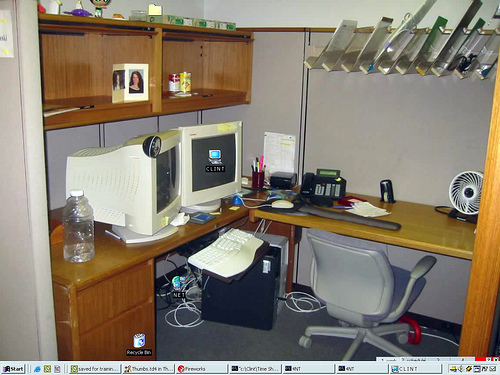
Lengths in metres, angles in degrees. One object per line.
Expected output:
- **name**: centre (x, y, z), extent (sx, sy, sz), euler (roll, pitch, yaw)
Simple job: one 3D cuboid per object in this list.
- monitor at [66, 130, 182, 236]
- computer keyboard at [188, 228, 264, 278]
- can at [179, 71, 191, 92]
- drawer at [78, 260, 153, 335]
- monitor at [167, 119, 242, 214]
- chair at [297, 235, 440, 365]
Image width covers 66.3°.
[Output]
- **monitor**: centre (-0.720, -0.037, 2.245), extent (0.630, 0.528, 0.552), euler (1, 12, -17)
- **computer keyboard**: centre (-0.111, 0.371, 2.175), extent (0.311, 0.061, 0.572), euler (16, 16, 17)
- **can**: centre (-0.469, -0.754, 2.764), extent (0.073, 0.133, 0.050), euler (-7, 23, -28)
- **drawer**: centre (-0.656, 0.528, 1.866), extent (0.216, 0.268, 0.432), euler (3, 11, 23)
- **monitor**: centre (-0.346, -0.154, 2.661), extent (0.323, 0.577, 0.578), euler (10, 16, 37)
- **chair**: centre (0.749, 0.637, 2.470), extent (0.834, 0.916, 0.778), euler (-3, 15, 0)
